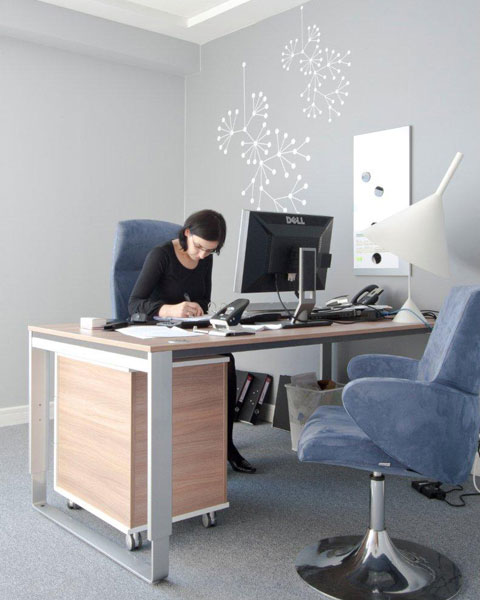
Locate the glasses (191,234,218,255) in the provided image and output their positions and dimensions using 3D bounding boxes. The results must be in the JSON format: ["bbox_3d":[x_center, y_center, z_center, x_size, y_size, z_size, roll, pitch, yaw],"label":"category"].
[{"bbox_3d":[-0.158,-0.237,2.307,0.082,0.073,0.100,12,14,-27],"label":"glasses"}]
